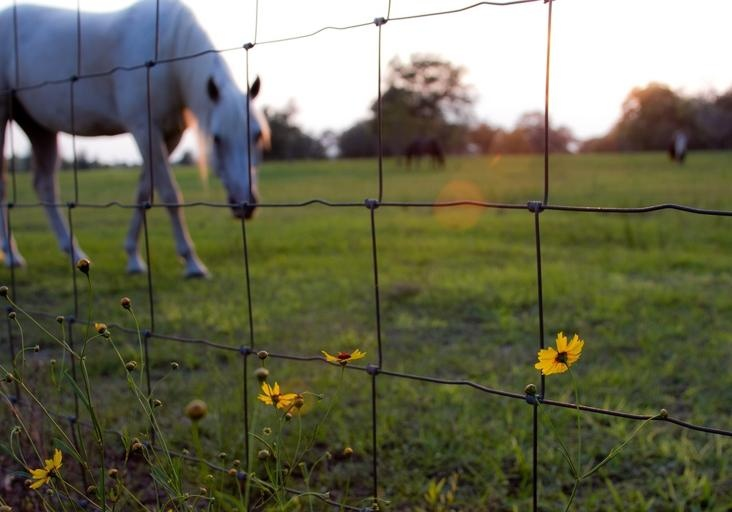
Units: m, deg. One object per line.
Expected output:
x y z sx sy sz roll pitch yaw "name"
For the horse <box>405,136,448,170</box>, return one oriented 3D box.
0.310 -0.543 5.804 0.074 0.244 0.353 -8 12 -24 "horse"
